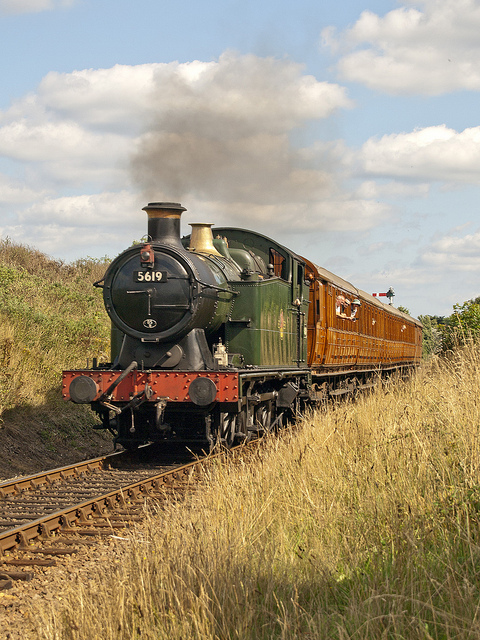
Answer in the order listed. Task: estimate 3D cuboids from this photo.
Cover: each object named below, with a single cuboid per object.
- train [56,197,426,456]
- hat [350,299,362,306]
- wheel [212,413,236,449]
[{"bbox_3d":[1.246,0.137,16.781,3.464,3.936,17.512,-1,0,12],"label":"train"},{"bbox_3d":[3.779,-0.597,20.231,0.255,0.121,0.356,0,-8,5],"label":"hat"},{"bbox_3d":[-0.242,1.597,9.025,0.275,0.633,0.859,2,2,7],"label":"wheel"}]
